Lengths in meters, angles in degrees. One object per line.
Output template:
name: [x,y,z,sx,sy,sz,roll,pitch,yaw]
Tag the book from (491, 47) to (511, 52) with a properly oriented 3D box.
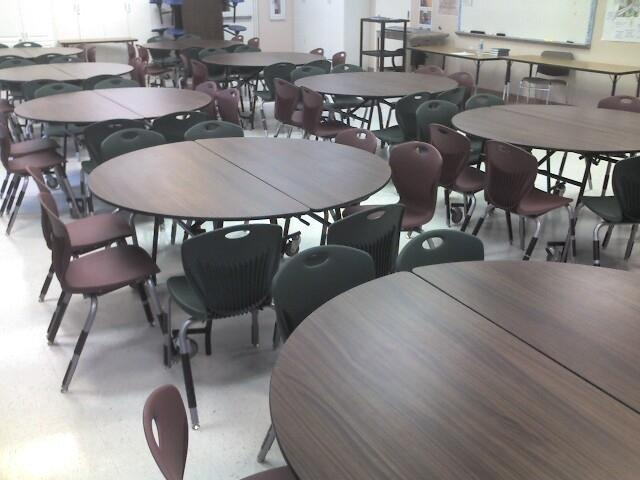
book: [3.124,-3.253,8.284,0.170,0.042,0.169,-11,15,-39]
